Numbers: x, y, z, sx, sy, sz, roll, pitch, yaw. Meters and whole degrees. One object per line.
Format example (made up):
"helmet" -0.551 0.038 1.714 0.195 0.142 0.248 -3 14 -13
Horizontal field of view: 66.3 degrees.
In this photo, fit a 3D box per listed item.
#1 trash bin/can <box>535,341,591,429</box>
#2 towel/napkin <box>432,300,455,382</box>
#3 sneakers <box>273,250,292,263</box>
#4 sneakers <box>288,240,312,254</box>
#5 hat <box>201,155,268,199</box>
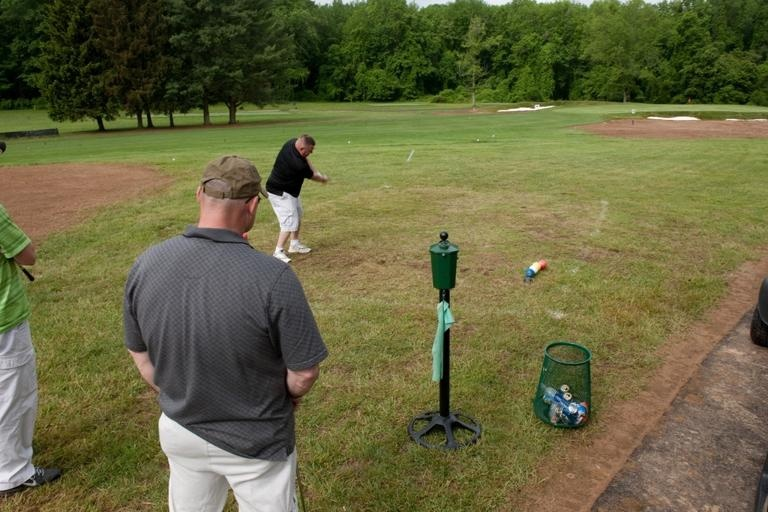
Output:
"trash bin/can" 2.142 1.579 6.984 0.732 0.832 0.750 10 18 28
"towel/napkin" 0.672 1.016 6.652 0.206 1.080 0.370 0 18 7
"sneakers" -1.595 -0.021 9.294 0.329 0.148 0.120 22 31 29
"sneakers" -1.577 -0.215 11.135 0.513 0.245 0.191 -3 16 -15
"hat" -1.306 -0.736 5.094 0.369 0.282 0.485 8 16 14
